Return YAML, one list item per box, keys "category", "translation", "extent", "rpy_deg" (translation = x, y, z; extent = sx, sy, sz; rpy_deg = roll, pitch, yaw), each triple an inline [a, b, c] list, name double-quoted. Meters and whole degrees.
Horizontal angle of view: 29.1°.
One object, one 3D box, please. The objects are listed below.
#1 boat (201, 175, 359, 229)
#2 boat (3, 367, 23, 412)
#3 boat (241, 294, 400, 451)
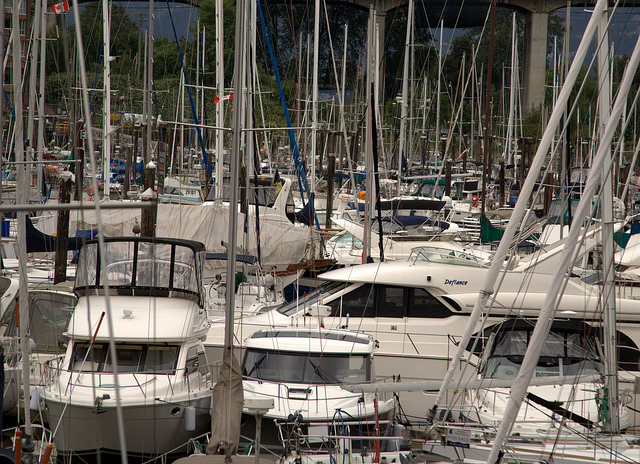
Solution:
- category: "boat"
  translation: [-1.189, -0.813, 35.362]
  extent: [4.928, 1.914, 1.405]
  rpy_deg: [6, 3, -19]
- category: "boat"
  translation: [-6.873, 3.554, 27.402]
  extent: [0.287, 1.032, 0.485]
  rpy_deg: [0, 8, -14]
- category: "boat"
  translation: [-0.239, 3.441, 27.211]
  extent: [2.868, 2.244, 1.879]
  rpy_deg: [2, 8, -3]
